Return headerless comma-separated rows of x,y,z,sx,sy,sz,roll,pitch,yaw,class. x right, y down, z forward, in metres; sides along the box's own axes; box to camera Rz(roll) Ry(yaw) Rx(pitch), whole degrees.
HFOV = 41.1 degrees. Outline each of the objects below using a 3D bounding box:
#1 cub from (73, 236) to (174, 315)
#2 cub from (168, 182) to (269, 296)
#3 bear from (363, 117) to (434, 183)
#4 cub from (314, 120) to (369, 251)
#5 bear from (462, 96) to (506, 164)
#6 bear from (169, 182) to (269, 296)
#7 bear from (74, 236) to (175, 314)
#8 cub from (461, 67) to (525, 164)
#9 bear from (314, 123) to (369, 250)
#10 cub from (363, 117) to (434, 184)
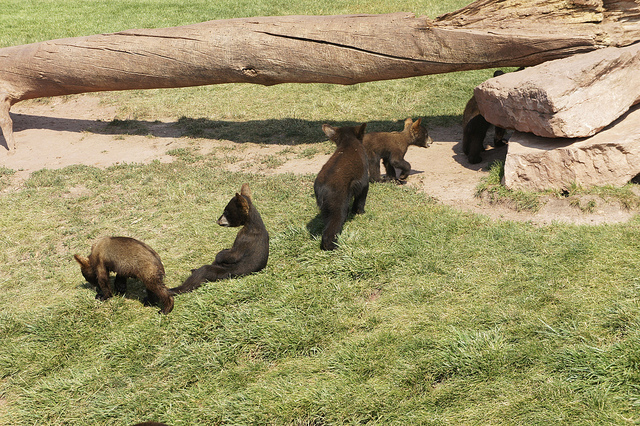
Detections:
-3.551,1.111,15.732,1.868,1.275,0.640,3,22,18,cub
-1.493,0.464,16.693,1.961,1.844,2.464,-2,19,-2,cub
1.683,-1.410,19.049,1.856,1.425,0.671,-8,10,-22,bear
0.455,-0.682,17.299,1.021,1.791,3.544,2,23,13,cub
3.547,-1.925,19.514,0.574,1.276,1.262,-1,21,10,bear
-1.763,0.460,16.017,1.582,1.636,0.763,-8,21,-9,bear
-3.571,1.111,15.940,2.117,1.275,0.771,7,16,21,bear
3.580,-2.006,20.365,0.676,1.473,2.512,9,9,15,cub
0.443,-0.580,16.915,1.001,1.873,2.251,-2,20,6,bear
2.056,-1.384,18.825,2.340,1.768,0.800,-8,15,-24,cub
